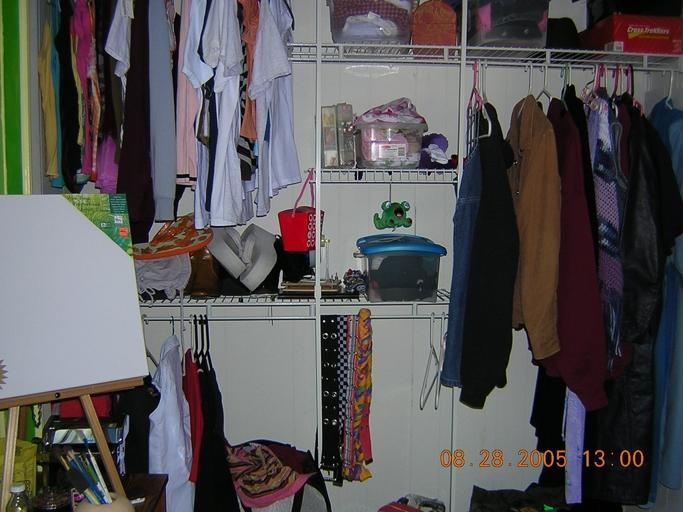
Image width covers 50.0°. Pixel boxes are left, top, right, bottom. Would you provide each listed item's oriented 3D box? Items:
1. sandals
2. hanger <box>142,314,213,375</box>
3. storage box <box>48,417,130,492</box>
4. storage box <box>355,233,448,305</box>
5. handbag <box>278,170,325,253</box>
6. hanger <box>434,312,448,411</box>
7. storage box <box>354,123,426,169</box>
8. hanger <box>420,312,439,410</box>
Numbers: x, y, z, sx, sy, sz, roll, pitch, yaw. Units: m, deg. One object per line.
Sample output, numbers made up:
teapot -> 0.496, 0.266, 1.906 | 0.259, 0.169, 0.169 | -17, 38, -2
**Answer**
sandals -> -0.471, 0.012, 3.497 | 0.322, 0.305, 0.148 | -3, 5, -8
hanger -> -0.786, 0.419, 3.488 | 0.259, 0.272, 0.035 | -1, 4, 0
storage box -> -1.109, 0.910, 3.141 | 0.316, 0.375, 0.274 | 3, -37, -19
storage box -> 0.297, 0.052, 3.618 | 0.415, 0.336, 0.507 | -1, 6, -11
handbag -> -0.184, -0.222, 3.525 | 0.142, 0.394, 0.223 | 0, -2, 25
hanger -> 0.495, 0.568, 3.724 | 0.015, 0.476, 0.086 | 4, 3, -6
storage box -> 0.222, -0.515, 3.413 | 0.227, 0.172, 0.204 | 0, 6, -2
hanger -> 0.472, 0.545, 3.736 | 0.104, 0.490, 0.040 | 10, -6, -20
